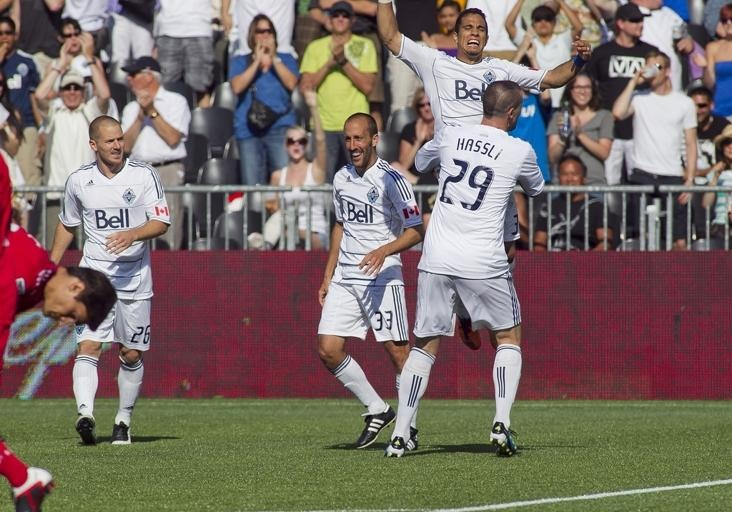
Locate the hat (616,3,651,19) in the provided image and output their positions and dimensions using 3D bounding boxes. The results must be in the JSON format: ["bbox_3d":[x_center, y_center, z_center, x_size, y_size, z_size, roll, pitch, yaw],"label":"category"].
[{"bbox_3d":[3.369,-3.067,22.136,0.278,0.173,0.211,-4,11,37],"label":"hat"}]

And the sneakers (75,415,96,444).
[{"bbox_3d":[-2.821,1.766,17.731,0.190,0.313,0.357,0,2,-7],"label":"sneakers"}]

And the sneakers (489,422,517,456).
[{"bbox_3d":[1.375,1.754,17.041,0.172,0.278,0.494,11,-16,22],"label":"sneakers"}]

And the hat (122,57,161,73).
[{"bbox_3d":[-2.798,-2.359,21.842,0.396,0.234,0.271,5,-4,-9],"label":"hat"}]

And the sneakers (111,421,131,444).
[{"bbox_3d":[-2.490,1.814,17.882,0.160,0.192,0.458,1,-7,-8],"label":"sneakers"}]
